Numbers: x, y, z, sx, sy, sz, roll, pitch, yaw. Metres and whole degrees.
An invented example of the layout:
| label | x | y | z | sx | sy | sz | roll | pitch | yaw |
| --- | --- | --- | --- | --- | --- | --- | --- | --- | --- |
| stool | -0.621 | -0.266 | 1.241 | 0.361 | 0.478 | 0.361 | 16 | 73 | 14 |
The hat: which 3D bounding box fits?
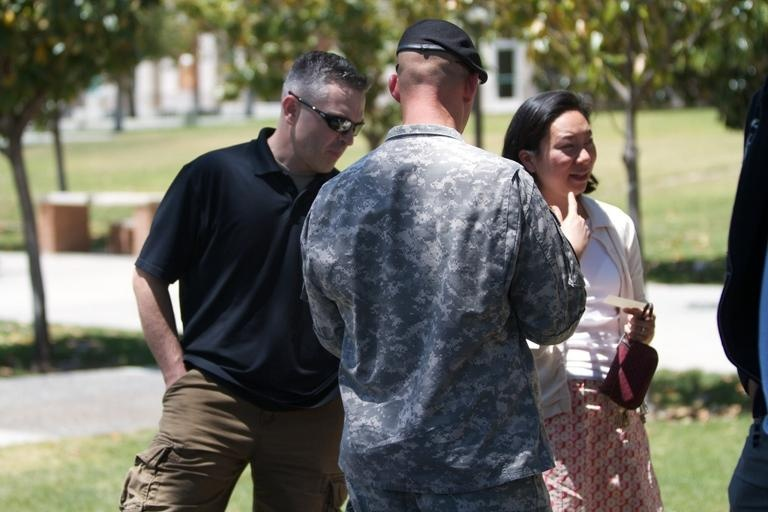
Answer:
| label | x | y | z | sx | sy | sz | roll | pitch | yaw |
| --- | --- | --- | --- | --- | --- | --- | --- | --- | --- |
| hat | 0.397 | -1.308 | 7.937 | 0.463 | 0.243 | 0.344 | 11 | -3 | -33 |
